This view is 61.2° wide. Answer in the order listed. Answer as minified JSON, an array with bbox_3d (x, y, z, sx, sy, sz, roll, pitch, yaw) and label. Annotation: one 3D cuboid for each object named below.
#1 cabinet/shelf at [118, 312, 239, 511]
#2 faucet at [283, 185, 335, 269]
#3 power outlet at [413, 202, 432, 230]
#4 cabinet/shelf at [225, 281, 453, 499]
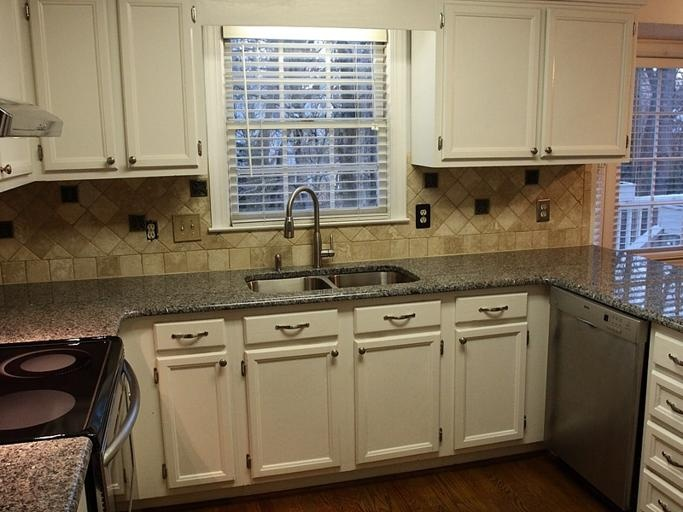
[{"bbox_3d":[-0.760,0.798,3.029,0.414,0.853,0.501,-4,2,-13],"label":"cabinet/shelf"},{"bbox_3d":[-0.215,-0.172,3.318,0.381,0.470,0.277,-11,14,-36],"label":"faucet"},{"bbox_3d":[0.489,-0.250,3.521,0.147,0.235,0.022,0,3,-10],"label":"power outlet"},{"bbox_3d":[-0.051,0.340,3.246,1.408,1.311,0.764,-2,6,-14],"label":"cabinet/shelf"}]
